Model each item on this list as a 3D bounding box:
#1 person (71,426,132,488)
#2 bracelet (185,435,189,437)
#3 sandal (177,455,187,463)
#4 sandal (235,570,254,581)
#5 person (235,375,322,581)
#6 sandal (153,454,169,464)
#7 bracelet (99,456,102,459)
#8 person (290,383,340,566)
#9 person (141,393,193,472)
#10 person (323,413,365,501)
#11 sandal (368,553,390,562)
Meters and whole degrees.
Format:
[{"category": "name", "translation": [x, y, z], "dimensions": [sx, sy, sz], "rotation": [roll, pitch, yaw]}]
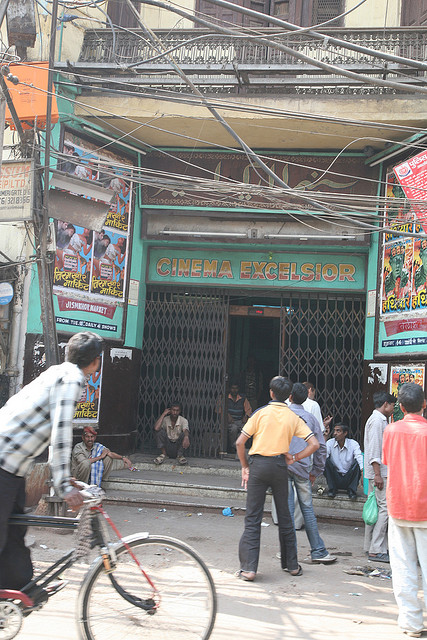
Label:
[{"category": "person", "translation": [-1.411, 1.699, 7.898], "dimensions": [0.642, 0.838, 0.567], "rotation": [-10, -9, 29]}, {"category": "bracelet", "translation": [-0.405, 1.706, 9.768], "dimensions": [0.038, 0.043, 0.038], "rotation": [1, 0, -29]}, {"category": "sandal", "translation": [-0.476, 2.027, 9.627], "dimensions": [0.100, 0.072, 0.189], "rotation": [1, -8, -19]}, {"category": "sandal", "translation": [0.213, 1.891, 4.932], "dimensions": [0.062, 0.065, 0.190], "rotation": [9, -8, -39]}, {"category": "person", "translation": [0.467, 1.201, 5.075], "dimensions": [0.572, 1.520, 0.384], "rotation": [6, -7, -24]}, {"category": "sandal", "translation": [-0.767, 2.034, 9.664], "dimensions": [0.101, 0.113, 0.271], "rotation": [10, 1, 21]}, {"category": "bracelet", "translation": [-1.355, 1.636, 7.889], "dimensions": [0.032, 0.034, 0.018], "rotation": [0, -2, 6]}, {"category": "person", "translation": [0.776, 1.286, 5.715], "dimensions": [0.464, 1.520, 0.355], "rotation": [1, 3, -1]}, {"category": "person", "translation": [-0.635, 1.623, 9.785], "dimensions": [0.505, 0.962, 0.703], "rotation": [1, 0, 0]}, {"category": "person", "translation": [1.566, 1.703, 8.132], "dimensions": [0.468, 0.890, 0.578], "rotation": [6, 11, 28]}, {"category": "sandal", "translation": [1.456, 2.088, 5.833], "dimensions": [0.184, 0.080, 0.065], "rotation": [0, -6, 6]}]
